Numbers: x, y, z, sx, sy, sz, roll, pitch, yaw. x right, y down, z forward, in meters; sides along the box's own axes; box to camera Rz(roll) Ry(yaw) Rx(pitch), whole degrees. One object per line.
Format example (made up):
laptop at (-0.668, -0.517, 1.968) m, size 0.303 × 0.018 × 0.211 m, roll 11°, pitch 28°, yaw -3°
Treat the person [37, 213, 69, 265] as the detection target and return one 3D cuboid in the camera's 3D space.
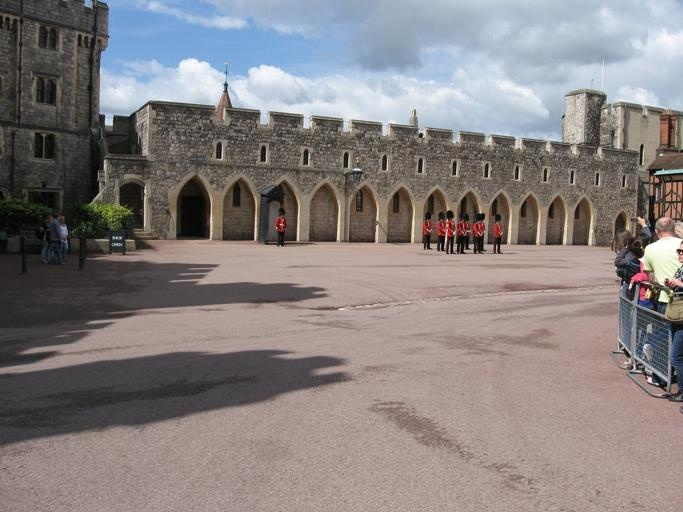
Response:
person at (-10.440, -0.661, 22.075) m, size 0.808 × 1.720 × 2.017 m, roll -1°, pitch 5°, yaw -26°
